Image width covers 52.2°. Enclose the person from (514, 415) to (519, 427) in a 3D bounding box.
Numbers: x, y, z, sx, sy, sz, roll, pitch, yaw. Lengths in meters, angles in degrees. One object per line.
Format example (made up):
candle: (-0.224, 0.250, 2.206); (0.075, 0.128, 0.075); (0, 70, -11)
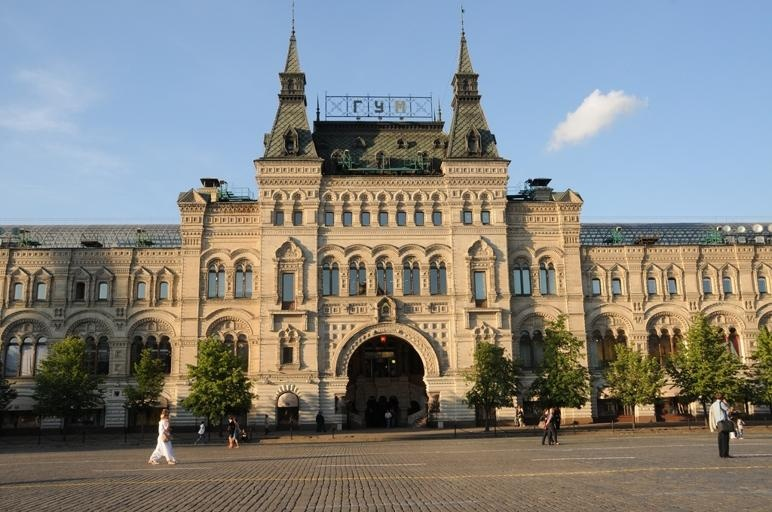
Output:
person: (12.362, 15.546, 73.705); (0.243, 0.973, 0.777); (2, -12, -10)
